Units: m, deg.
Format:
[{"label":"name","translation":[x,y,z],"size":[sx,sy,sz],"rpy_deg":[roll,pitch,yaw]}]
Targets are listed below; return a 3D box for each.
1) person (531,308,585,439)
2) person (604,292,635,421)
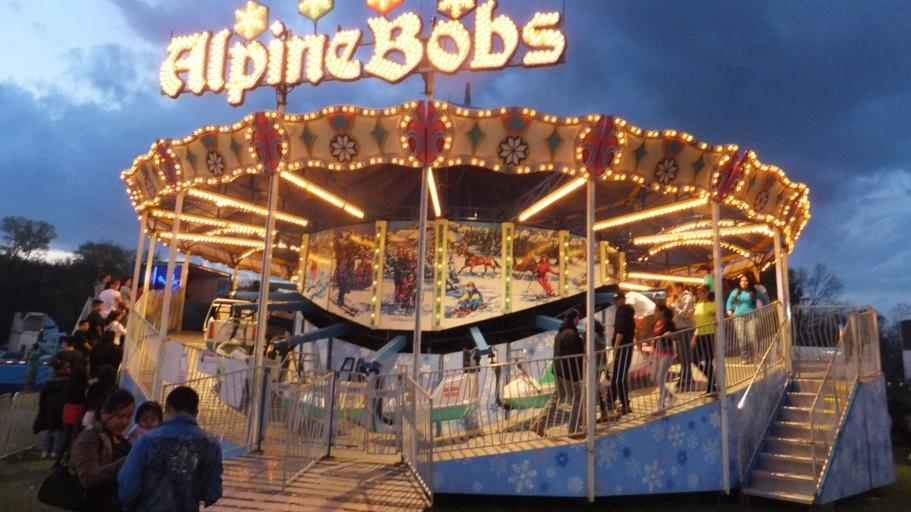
[{"label":"person","translation":[2.343,2.506,14.528],"size":[1.042,2.658,0.700],"rpy_deg":[-5,-13,24]},{"label":"person","translation":[3.643,2.094,14.675],"size":[0.588,2.679,0.836],"rpy_deg":[-3,-12,13]}]
